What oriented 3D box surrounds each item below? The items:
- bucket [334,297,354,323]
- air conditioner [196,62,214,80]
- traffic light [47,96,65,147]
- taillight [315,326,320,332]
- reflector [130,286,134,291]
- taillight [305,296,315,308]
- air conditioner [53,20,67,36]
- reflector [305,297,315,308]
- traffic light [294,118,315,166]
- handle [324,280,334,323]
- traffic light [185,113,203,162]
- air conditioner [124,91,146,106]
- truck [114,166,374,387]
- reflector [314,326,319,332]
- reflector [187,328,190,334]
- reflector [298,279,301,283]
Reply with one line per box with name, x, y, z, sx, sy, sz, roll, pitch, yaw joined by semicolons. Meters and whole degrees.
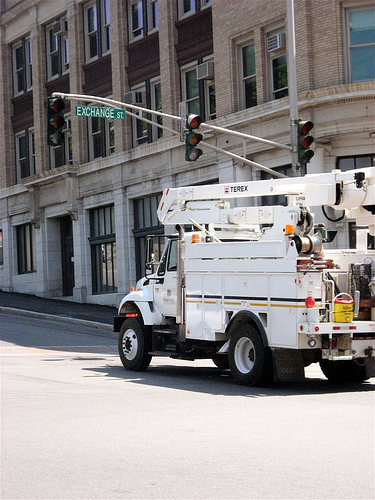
bucket;2.147;0.830;12.975;0.301;0.316;0.253;-5;-6;44
air conditioner;0.493;-5.199;27.768;0.395;0.556;0.748;3;-7;-26
traffic light;-2.480;-2.429;17.767;0.291;0.931;0.260;-8;17;-35
taillight;1.748;1.061;12.632;0.059;0.061;0.014;-16;-1;-28
reflector;-0.976;0.678;16.351;0.077;0.075;0.131;0;0;-1
taillight;1.668;0.709;12.794;0.046;0.133;0.129;0;23;46
air conditioner;-5.036;-8.780;37.211;0.282;0.533;0.527;13;-29;-31
reflector;1.668;0.712;12.790;0.125;0.128;0.032;-38;21;-30
traffic light;2.240;-2.064;18.037;0.434;0.898;0.440;-3;3;-25
handle;1.994;0.709;13.155;0.124;0.465;0.316;-3;-1;10
traffic light;0.101;-2.159;17.678;0.318;0.651;0.905;-3;-2;1
air conditioner;-1.780;-5.083;31.800;0.573;0.337;0.654;-2;-2;-26
truck;1.166;0.410;15.378;2.094;3.161;5.890;3;-4;-30
reflector;1.739;1.057;12.635;0.070;0.056;0.020;-1;-2;-44
reflector;0.013;1.281;14.763;0.015;0.055;0.088;-2;-2;-31
reflector;1.524;0.423;12.798;0.043;0.037;0.008;-1;-2;-41
